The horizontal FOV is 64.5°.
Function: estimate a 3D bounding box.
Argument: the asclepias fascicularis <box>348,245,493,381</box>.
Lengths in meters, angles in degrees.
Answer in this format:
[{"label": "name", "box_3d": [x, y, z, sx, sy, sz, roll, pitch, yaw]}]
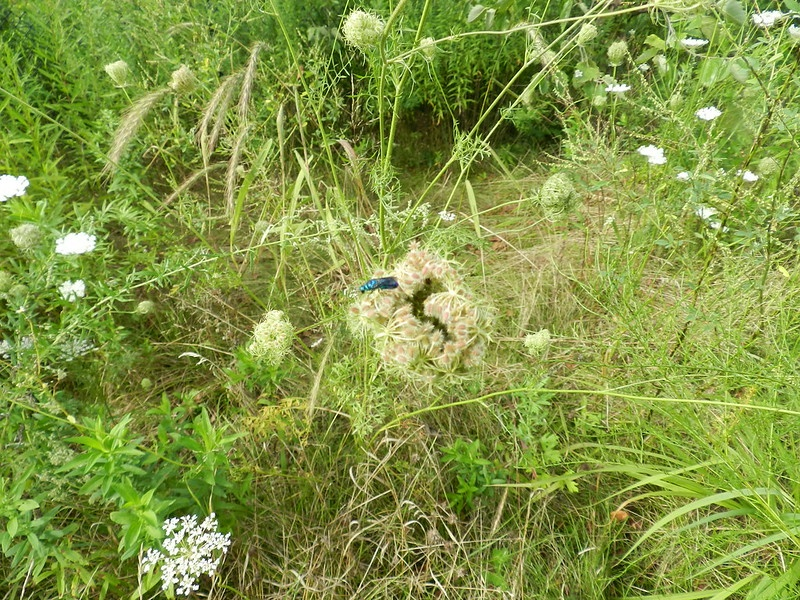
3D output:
[{"label": "asclepias fascicularis", "box_3d": [0.161, 0.123, 3.749, 0.710, 0.427, 0.778, -41, 78, -8]}]

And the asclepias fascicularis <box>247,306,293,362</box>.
[{"label": "asclepias fascicularis", "box_3d": [-0.731, 0.234, 3.764, 0.218, 0.389, 0.279, 26, 78, 8]}]

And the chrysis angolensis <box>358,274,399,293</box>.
[{"label": "chrysis angolensis", "box_3d": [-0.113, -0.082, 3.649, 0.243, 0.093, 0.089, -13, 27, 24]}]

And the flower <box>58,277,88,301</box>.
[{"label": "flower", "box_3d": [-2.070, -0.062, 4.024, 0.150, 0.076, 0.151, -3, 86, 4]}]
